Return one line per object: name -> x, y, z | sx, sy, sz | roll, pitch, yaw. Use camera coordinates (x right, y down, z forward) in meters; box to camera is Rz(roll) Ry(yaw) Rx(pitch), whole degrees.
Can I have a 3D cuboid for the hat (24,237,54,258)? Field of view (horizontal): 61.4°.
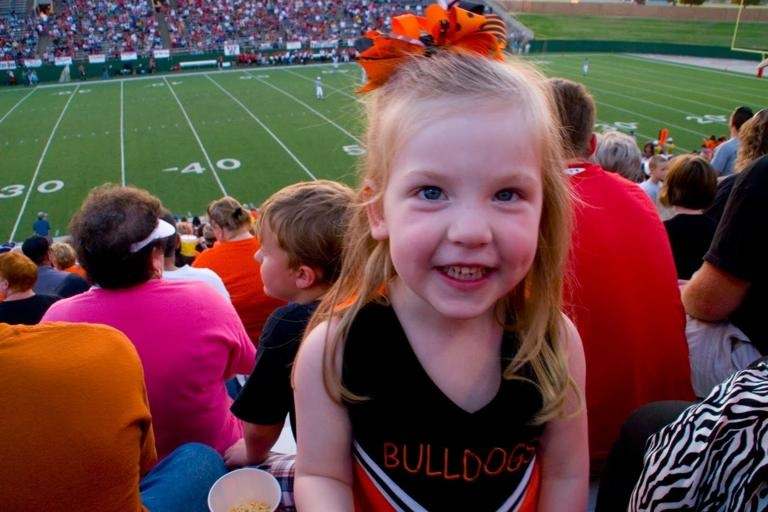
hat -> -3.687, -0.068, 7.057 | 0.191, 0.254, 0.254 | -1, 13, -19
